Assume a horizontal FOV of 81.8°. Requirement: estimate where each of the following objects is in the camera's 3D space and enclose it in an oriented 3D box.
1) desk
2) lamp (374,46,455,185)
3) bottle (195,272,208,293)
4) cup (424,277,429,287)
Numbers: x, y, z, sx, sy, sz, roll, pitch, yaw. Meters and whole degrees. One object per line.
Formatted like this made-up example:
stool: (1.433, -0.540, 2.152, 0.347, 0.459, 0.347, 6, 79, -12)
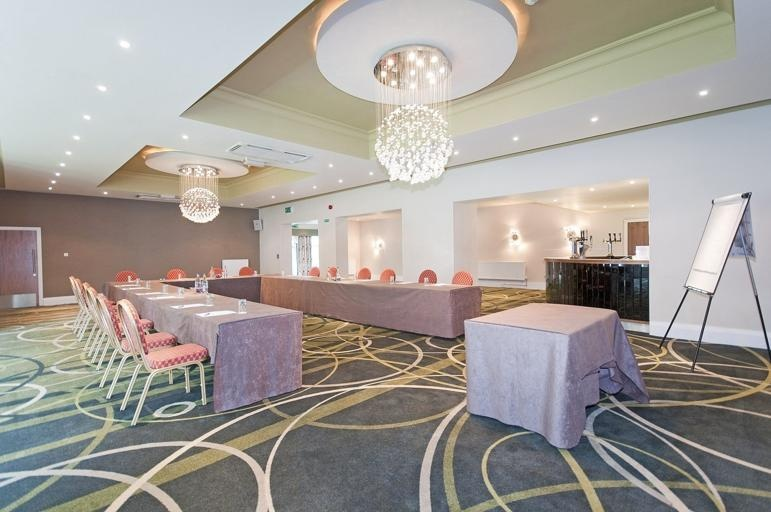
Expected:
desk: (2.031, 1.397, 5.320, 1.987, 1.402, 0.982, -2, 3, -20)
lamp: (0.452, -2.033, 7.063, 1.168, 1.745, 1.930, -1, 3, 6)
bottle: (-3.915, 0.576, 9.451, 0.313, 0.574, 0.301, 1, 3, 0)
cup: (0.771, 0.490, 8.369, 0.114, 0.220, 0.117, 0, -5, 0)
